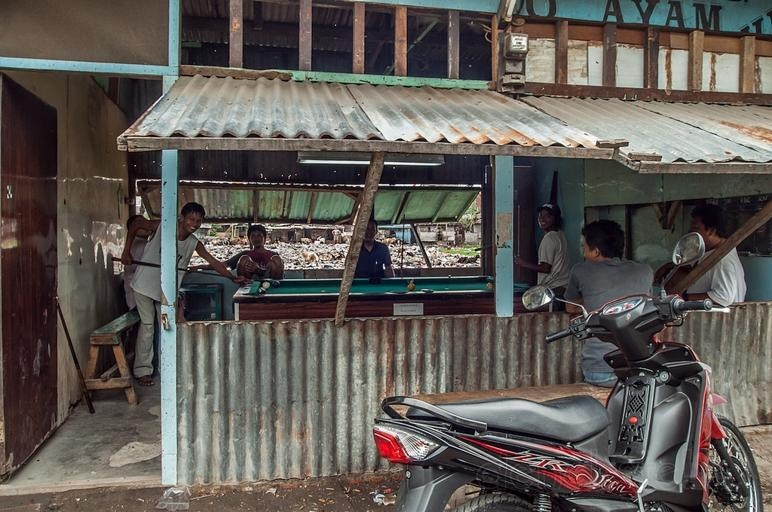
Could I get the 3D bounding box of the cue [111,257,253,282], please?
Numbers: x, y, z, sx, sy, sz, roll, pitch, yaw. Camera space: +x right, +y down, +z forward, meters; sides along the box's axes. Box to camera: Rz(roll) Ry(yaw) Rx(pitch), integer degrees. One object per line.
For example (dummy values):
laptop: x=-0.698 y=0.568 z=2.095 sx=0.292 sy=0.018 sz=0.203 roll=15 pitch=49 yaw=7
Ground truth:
cue: x=-2.942 y=0.201 z=15.006 sx=1.287 sy=0.118 sz=0.079 roll=12 pitch=41 yaw=9

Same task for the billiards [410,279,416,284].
billiards: x=0.368 y=0.381 z=15.244 sx=0.053 sy=0.066 sz=0.060 roll=-2 pitch=-1 yaw=-15

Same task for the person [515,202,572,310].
person: x=2.275 y=-0.059 z=14.733 sx=0.732 sy=1.581 sz=0.881 roll=22 pitch=25 yaw=31

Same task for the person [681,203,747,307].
person: x=3.941 y=0.072 z=13.442 sx=0.998 sy=1.535 sz=1.474 roll=1 pitch=2 yaw=28

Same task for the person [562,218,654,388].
person: x=2.589 y=0.687 z=12.471 sx=0.888 sy=2.269 sz=1.194 roll=-3 pitch=5 yaw=-24

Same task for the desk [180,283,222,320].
desk: x=-2.896 y=0.707 z=16.584 sx=0.615 sy=0.528 sz=0.650 roll=0 pitch=11 yaw=-10

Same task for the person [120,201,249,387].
person: x=-3.018 y=0.330 z=14.666 sx=1.118 sy=3.312 sz=1.191 roll=0 pitch=0 yaw=-6

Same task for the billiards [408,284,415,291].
billiards: x=0.340 y=0.436 z=14.592 sx=0.070 sy=0.102 sz=0.075 roll=3 pitch=4 yaw=11

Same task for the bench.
bench: x=-3.755 y=1.395 z=14.458 sx=0.651 sy=1.203 sz=0.785 roll=0 pitch=1 yaw=-9
